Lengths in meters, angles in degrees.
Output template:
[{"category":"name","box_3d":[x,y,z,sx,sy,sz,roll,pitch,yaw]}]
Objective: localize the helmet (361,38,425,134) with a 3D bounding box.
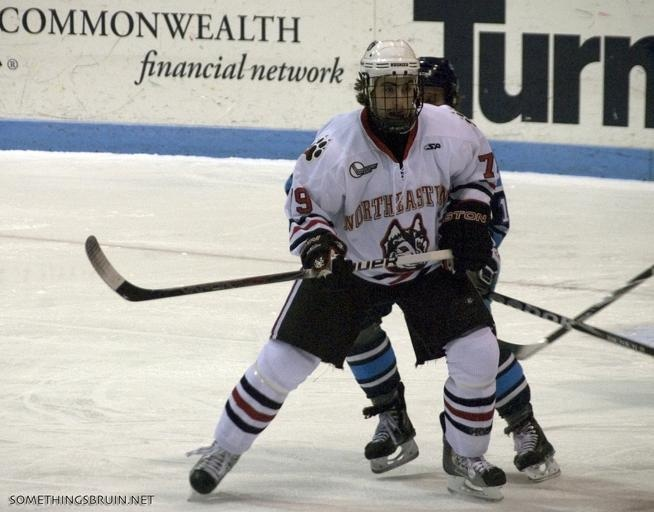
[{"category":"helmet","box_3d":[0.248,-0.661,4.388,0.237,0.354,0.165,2,11,5]}]

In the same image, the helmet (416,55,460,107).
[{"category":"helmet","box_3d":[0.487,-0.757,4.871,0.205,0.199,0.232,-2,-7,14]}]

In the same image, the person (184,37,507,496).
[{"category":"person","box_3d":[0.161,0.044,4.403,1.109,1.755,0.422,1,11,1]}]

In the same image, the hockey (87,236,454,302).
[{"category":"hockey","box_3d":[-0.290,0.075,5.206,1.885,0.445,0.169,-1,30,-4]}]

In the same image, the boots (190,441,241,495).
[{"category":"boots","box_3d":[-0.458,0.818,4.380,0.127,0.093,0.226,36,31,4]}]
